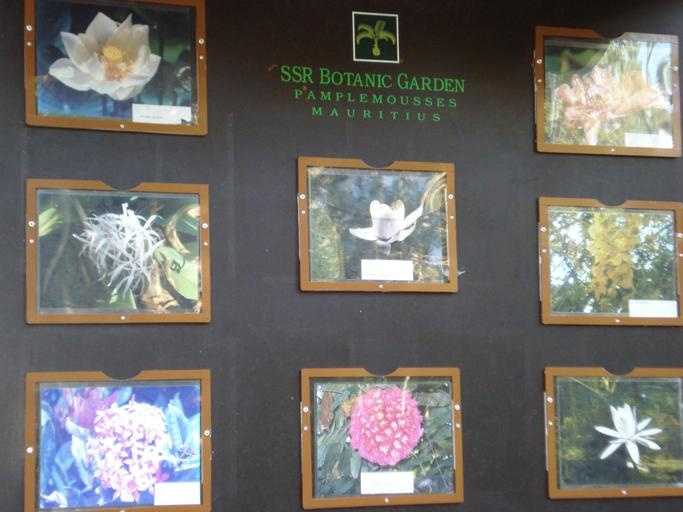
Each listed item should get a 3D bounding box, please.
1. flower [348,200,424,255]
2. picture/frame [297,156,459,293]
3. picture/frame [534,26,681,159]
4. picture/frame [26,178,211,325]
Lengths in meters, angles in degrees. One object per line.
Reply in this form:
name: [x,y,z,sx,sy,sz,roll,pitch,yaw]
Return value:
flower: [0.185,-0.140,3.060,0.206,0.174,0.210,16,27,40]
picture/frame: [0.113,-0.104,3.055,0.443,0.438,0.021,1,-9,-10]
picture/frame: [1.052,-0.641,3.209,0.456,0.444,0.025,0,-2,-7]
picture/frame: [-0.851,-0.001,2.928,0.448,0.418,0.019,-1,-3,-6]
